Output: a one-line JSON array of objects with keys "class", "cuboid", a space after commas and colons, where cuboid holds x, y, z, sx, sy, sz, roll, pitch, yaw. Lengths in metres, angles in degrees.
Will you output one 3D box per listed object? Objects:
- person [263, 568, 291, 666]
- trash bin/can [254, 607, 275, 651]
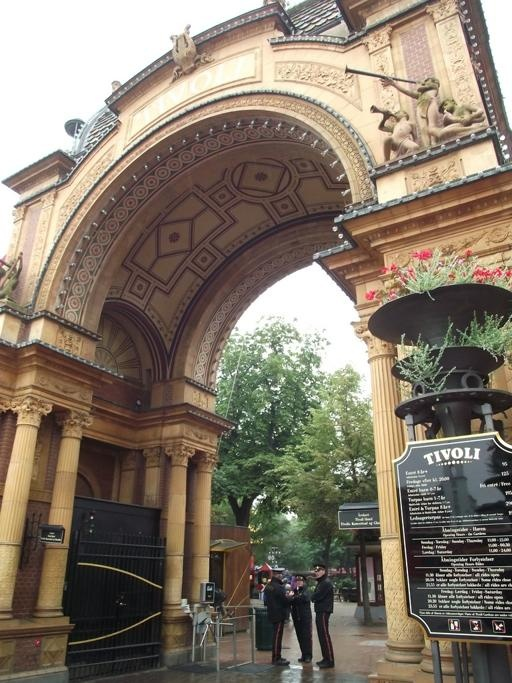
[{"class": "person", "cuboid": [0.395, 5.033, 9.699, 0.451, 1.552, 0.890, -2, -24, 2]}, {"class": "trash bin/can", "cuboid": [0.204, 6.702, 12.448, 0.548, 0.885, 0.559, -12, -23, -2]}]
